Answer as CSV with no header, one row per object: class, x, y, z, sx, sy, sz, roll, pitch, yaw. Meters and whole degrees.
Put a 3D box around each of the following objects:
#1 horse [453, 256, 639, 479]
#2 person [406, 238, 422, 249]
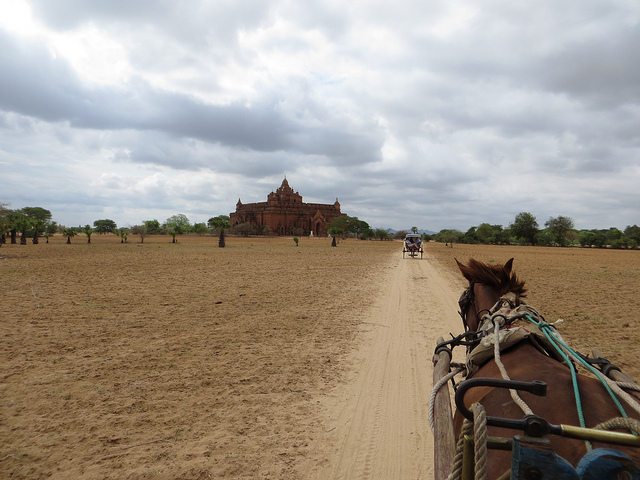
horse,2.205,1.329,4.602,1.466,2.011,2.071,1,6,-1
person,6.416,0.248,30.665,0.772,0.665,1.409,-2,6,-25
